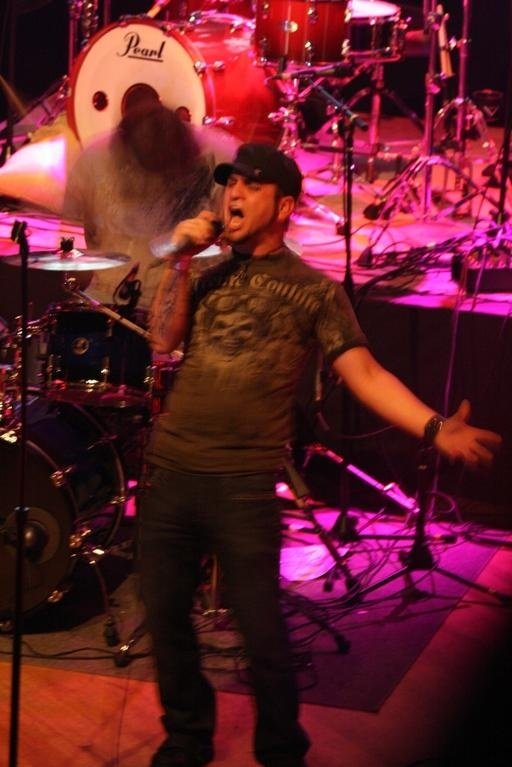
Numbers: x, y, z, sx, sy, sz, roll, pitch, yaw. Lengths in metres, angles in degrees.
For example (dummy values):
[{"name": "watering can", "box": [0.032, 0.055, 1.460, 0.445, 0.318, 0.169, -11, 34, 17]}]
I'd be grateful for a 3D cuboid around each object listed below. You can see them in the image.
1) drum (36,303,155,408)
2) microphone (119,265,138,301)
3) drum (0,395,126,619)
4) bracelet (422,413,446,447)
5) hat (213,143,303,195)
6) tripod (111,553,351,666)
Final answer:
[{"name": "drum", "box": [-0.540, -0.122, 2.648, 0.551, 0.376, 0.504, 5, 8, -1]}, {"name": "microphone", "box": [-0.561, -0.428, 2.892, 0.040, 0.153, 0.113, 23, -8, -28]}, {"name": "drum", "box": [-0.777, 0.476, 2.465, 0.330, 0.811, 0.511, 2, 8, 31]}, {"name": "bracelet", "box": [0.325, 0.086, 1.217, 0.026, 0.052, 0.041, 18, 21, -2]}, {"name": "hat", "box": [0.025, -0.500, 1.592, 0.191, 0.091, 0.132, 26, 3, -33]}, {"name": "tripod", "box": [-0.077, 0.699, 1.992, 0.595, 0.189, 0.508, -1, -7, -1]}]
